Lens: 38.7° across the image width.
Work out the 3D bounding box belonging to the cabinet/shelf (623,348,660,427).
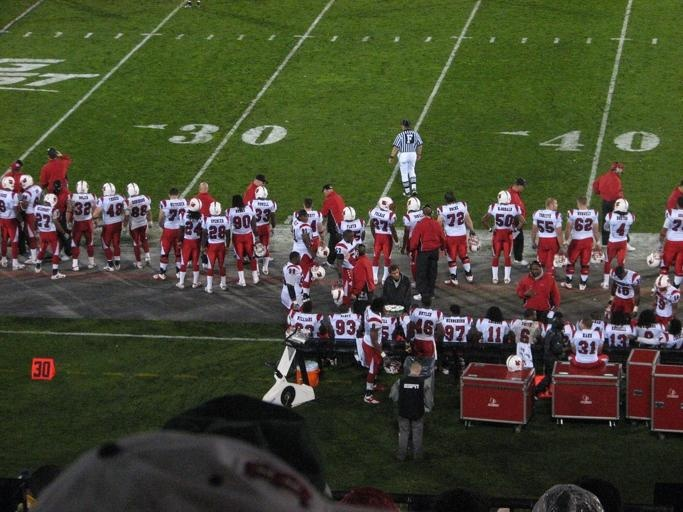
[{"bbox_3d":[4.063,1.809,13.153,0.629,0.914,1.042,2,5,22],"label":"cabinet/shelf"}]

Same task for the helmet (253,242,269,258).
[{"bbox_3d":[-1.517,-0.100,18.256,0.243,0.218,0.282,2,-2,9],"label":"helmet"}]

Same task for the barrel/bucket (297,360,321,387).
[{"bbox_3d":[-0.505,1.746,14.638,0.405,0.321,0.375,0,15,0],"label":"barrel/bucket"}]

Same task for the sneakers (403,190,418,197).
[{"bbox_3d":[1.587,-1.419,22.310,0.130,0.143,0.352,-3,13,-12],"label":"sneakers"}]

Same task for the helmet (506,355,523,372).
[{"bbox_3d":[2.365,1.485,13.396,0.254,0.188,0.182,3,-4,-5],"label":"helmet"}]

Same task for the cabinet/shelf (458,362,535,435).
[{"bbox_3d":[2.107,1.935,13.276,0.957,0.662,0.881,1,7,6],"label":"cabinet/shelf"}]

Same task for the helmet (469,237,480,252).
[{"bbox_3d":[2.494,-0.208,18.185,0.230,0.259,0.245,-4,-6,19],"label":"helmet"}]

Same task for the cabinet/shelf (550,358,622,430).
[{"bbox_3d":[3.377,1.841,13.462,0.990,0.760,0.918,3,8,15],"label":"cabinet/shelf"}]

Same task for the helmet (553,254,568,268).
[{"bbox_3d":[3.991,0.092,17.735,0.196,0.188,0.311,0,4,8],"label":"helmet"}]

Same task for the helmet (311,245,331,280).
[{"bbox_3d":[-0.343,0.138,18.037,0.286,0.573,0.381,21,-12,-37],"label":"helmet"}]

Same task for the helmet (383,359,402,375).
[{"bbox_3d":[0.760,1.700,14.687,0.307,0.204,0.345,2,12,-1],"label":"helmet"}]

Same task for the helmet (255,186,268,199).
[{"bbox_3d":[-1.584,-1.203,18.543,0.217,0.226,0.261,10,20,24],"label":"helmet"}]

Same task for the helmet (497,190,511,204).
[{"bbox_3d":[2.970,-1.075,17.790,0.232,0.196,0.244,-7,28,-14],"label":"helmet"}]

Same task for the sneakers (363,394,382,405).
[{"bbox_3d":[0.450,2.077,14.094,0.220,0.085,0.129,4,17,31],"label":"sneakers"}]

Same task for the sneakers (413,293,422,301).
[{"bbox_3d":[1.364,0.745,17.504,0.193,0.094,0.257,-1,8,2],"label":"sneakers"}]

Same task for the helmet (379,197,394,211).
[{"bbox_3d":[0.798,-0.952,17.771,0.300,0.206,0.204,1,20,-9],"label":"helmet"}]

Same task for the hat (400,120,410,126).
[{"bbox_3d":[1.404,-2.924,21.434,0.228,0.231,0.259,1,7,6],"label":"hat"}]

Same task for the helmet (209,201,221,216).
[{"bbox_3d":[-2.278,-0.854,17.650,0.235,0.227,0.279,-1,7,-8],"label":"helmet"}]
